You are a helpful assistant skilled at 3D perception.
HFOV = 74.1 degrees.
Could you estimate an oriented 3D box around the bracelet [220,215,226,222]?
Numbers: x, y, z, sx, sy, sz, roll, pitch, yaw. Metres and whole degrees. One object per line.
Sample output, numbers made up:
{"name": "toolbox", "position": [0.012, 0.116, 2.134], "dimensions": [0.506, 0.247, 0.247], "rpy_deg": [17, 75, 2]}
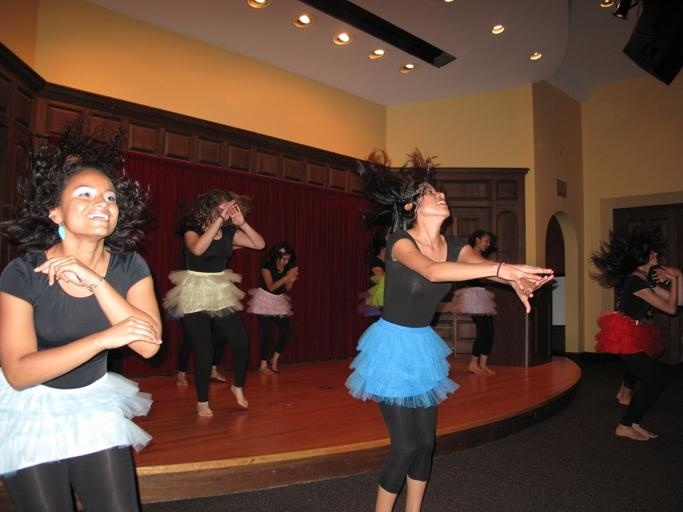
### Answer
{"name": "bracelet", "position": [-0.965, -0.304, 3.675], "dimensions": [0.042, 0.059, 0.138], "rpy_deg": [0, -2, -14]}

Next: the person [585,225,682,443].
{"name": "person", "position": [2.936, 0.736, 4.536], "dimensions": [0.757, 1.993, 1.256], "rpy_deg": [2, 4, 30]}

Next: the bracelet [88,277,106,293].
{"name": "bracelet", "position": [-0.884, 0.108, 1.639], "dimensions": [0.057, 0.048, 0.027], "rpy_deg": [-30, -32, 27]}

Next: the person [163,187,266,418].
{"name": "person", "position": [-1.144, 0.415, 3.955], "dimensions": [0.800, 1.962, 0.609], "rpy_deg": [1, 4, 18]}

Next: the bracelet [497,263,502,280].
{"name": "bracelet", "position": [0.711, 0.069, 2.040], "dimensions": [0.027, 0.071, 0.070], "rpy_deg": [1, 4, 20]}

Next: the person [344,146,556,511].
{"name": "person", "position": [0.421, 0.519, 2.444], "dimensions": [0.793, 2.252, 0.863], "rpy_deg": [0, 3, 0]}
